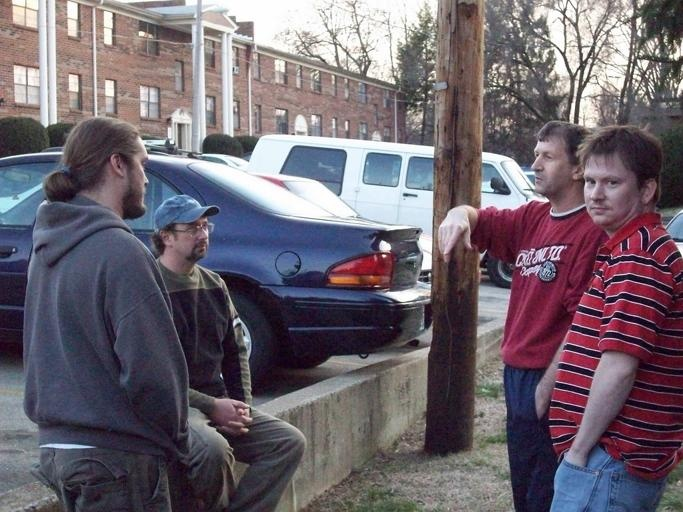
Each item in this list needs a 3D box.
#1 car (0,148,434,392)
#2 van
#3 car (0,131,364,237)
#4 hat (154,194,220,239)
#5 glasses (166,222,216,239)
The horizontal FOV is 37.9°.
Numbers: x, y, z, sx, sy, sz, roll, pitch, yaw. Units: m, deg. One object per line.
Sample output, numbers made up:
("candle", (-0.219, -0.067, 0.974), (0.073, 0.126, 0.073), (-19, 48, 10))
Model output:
("car", (-1.209, 0.029, 7.644), (3.604, 1.218, 1.522), (5, 4, 17))
("van", (0.923, -0.503, 14.468), (4.430, 2.117, 2.055), (4, -8, 11))
("car", (-1.457, -0.497, 7.716), (2.349, 0.810, 1.079), (0, 6, 4))
("hat", (-0.878, -0.248, 5.670), (0.331, 0.164, 0.215), (-14, 3, 17))
("glasses", (-0.871, -0.151, 5.624), (0.150, 0.047, 0.119), (-16, 3, 18))
